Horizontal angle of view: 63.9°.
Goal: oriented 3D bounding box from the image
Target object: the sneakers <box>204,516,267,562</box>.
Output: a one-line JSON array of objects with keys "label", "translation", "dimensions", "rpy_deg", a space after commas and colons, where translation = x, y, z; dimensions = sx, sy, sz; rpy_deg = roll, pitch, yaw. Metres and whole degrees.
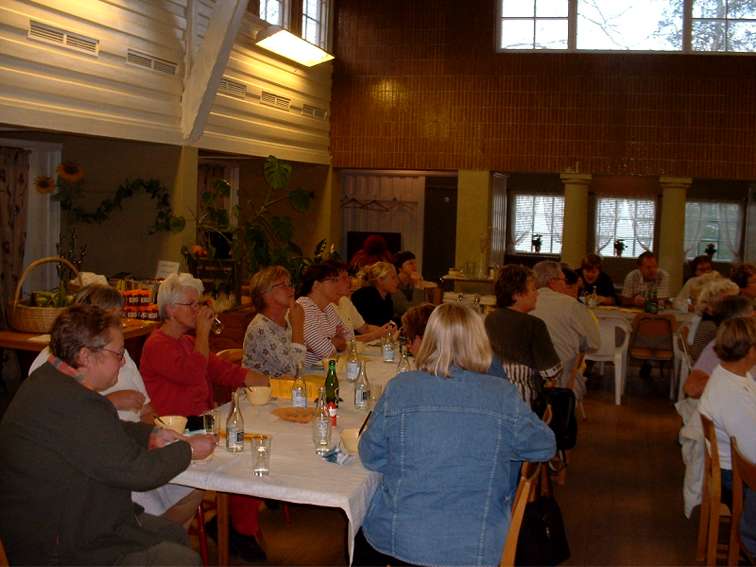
[{"label": "sneakers", "translation": [-0.913, 1.591, 3.808], "dimensions": [0.621, 0.079, 0.220], "rpy_deg": [9, 9, 44]}]

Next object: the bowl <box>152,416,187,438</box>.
[{"label": "bowl", "translation": [-1.040, 0.700, 3.046], "dimensions": [0.153, 0.098, 0.223], "rpy_deg": [0, 7, -21]}]

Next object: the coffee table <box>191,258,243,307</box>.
[{"label": "coffee table", "translation": [-2.177, -0.039, 8.213], "dimensions": [0.641, 0.887, 0.558], "rpy_deg": [-7, 13, -30]}]

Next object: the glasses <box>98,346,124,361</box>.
[{"label": "glasses", "translation": [-1.062, 0.277, 2.415], "dimensions": [0.027, 0.072, 0.107], "rpy_deg": [5, 7, 24]}]

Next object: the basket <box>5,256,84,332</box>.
[{"label": "basket", "translation": [-3.176, 0.060, 5.683], "dimensions": [0.713, 0.748, 0.730], "rpy_deg": [7, 3, -18]}]

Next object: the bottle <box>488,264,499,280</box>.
[{"label": "bottle", "translation": [1.866, -0.201, 9.894], "dimensions": [0.166, 0.325, 0.317], "rpy_deg": [1, 5, 14]}]

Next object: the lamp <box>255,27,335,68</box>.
[{"label": "lamp", "translation": [-1.376, -3.734, 9.542], "dimensions": [0.519, 0.131, 1.199], "rpy_deg": [-17, -13, 33]}]

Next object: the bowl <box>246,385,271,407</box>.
[{"label": "bowl", "translation": [-0.719, 0.657, 3.598], "dimensions": [0.110, 0.078, 0.112], "rpy_deg": [-6, 3, 0]}]

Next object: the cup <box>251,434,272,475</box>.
[{"label": "cup", "translation": [-0.532, 0.762, 2.728], "dimensions": [0.080, 0.121, 0.225], "rpy_deg": [1, 7, -12]}]

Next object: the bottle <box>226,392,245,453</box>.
[{"label": "bottle", "translation": [-0.699, 0.659, 2.952], "dimensions": [0.090, 0.266, 0.202], "rpy_deg": [0, 6, -14]}]

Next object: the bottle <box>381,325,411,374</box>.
[{"label": "bottle", "translation": [0.148, 0.522, 5.253], "dimensions": [0.227, 0.633, 0.235], "rpy_deg": [-1, 16, 0]}]

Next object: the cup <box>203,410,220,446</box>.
[{"label": "cup", "translation": [-0.836, 0.690, 3.013], "dimensions": [0.076, 0.119, 0.239], "rpy_deg": [0, 7, -15]}]

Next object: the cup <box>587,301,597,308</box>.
[{"label": "cup", "translation": [2.784, 0.263, 7.897], "dimensions": [0.076, 0.080, 0.079], "rpy_deg": [0, 0, 0]}]
